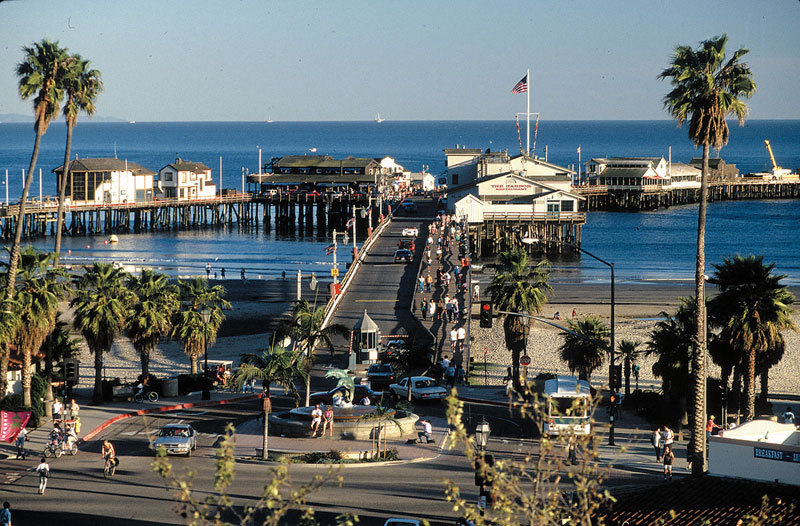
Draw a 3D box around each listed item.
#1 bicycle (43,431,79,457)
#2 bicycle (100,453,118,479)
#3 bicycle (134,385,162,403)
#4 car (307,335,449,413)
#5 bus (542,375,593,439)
[{"bbox_3d":[-18.211,9.783,81.546,1.816,1.169,1.001,-7,10,-31],"label":"bicycle"},{"bbox_3d":[-15.086,10.588,78.998,0.723,0.736,1.205,0,-1,3],"label":"bicycle"},{"bbox_3d":[-15.117,7.907,91.459,1.555,0.952,0.772,-1,3,1],"label":"bicycle"},{"bbox_3d":[-0.785,7.247,91.089,3.757,3.176,9.700,0,0,-28],"label":"car"},{"bbox_3d":[7.941,7.025,73.084,2.837,3.669,5.437,-2,-5,1],"label":"bus"}]
